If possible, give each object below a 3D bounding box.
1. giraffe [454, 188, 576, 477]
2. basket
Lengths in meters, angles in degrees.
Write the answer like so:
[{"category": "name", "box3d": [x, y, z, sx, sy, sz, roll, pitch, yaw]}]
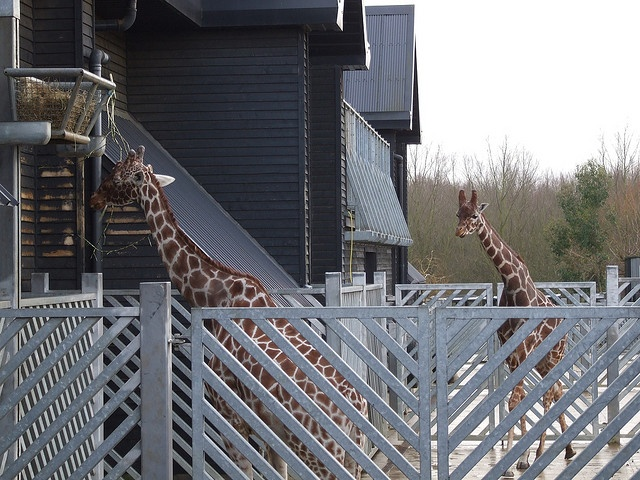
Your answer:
[{"category": "giraffe", "box3d": [3.391, 1.572, 28.045, 2.132, 4.889, 4.233, 2, 3, 6]}, {"category": "basket", "box3d": [-4.104, -2.184, 25.109, 1.365, 0.942, 1.178, 1, -8, 21]}]
